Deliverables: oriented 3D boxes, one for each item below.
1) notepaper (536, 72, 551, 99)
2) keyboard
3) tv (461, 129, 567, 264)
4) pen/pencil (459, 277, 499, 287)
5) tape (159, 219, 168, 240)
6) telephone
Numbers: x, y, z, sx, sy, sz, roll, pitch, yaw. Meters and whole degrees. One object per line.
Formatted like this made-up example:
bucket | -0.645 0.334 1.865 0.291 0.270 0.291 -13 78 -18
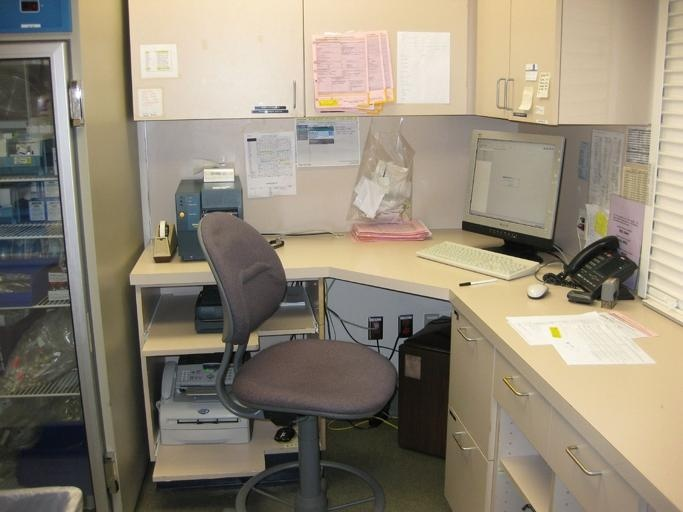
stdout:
notepaper | 0.757 -0.641 2.137 0.013 0.118 0.090 3 14 -10
keyboard | 0.582 0.014 2.580 0.205 0.078 0.531 -13 19 -38
tv | 0.787 -0.272 2.624 0.118 0.564 0.507 -3 16 -33
pen/pencil | 0.556 0.105 2.326 0.115 0.015 0.023 -4 44 -7
tape | -0.817 -0.117 2.642 0.046 0.079 0.078 0 4 -8
telephone | 0.935 0.043 2.252 0.267 0.229 0.290 4 15 -3
